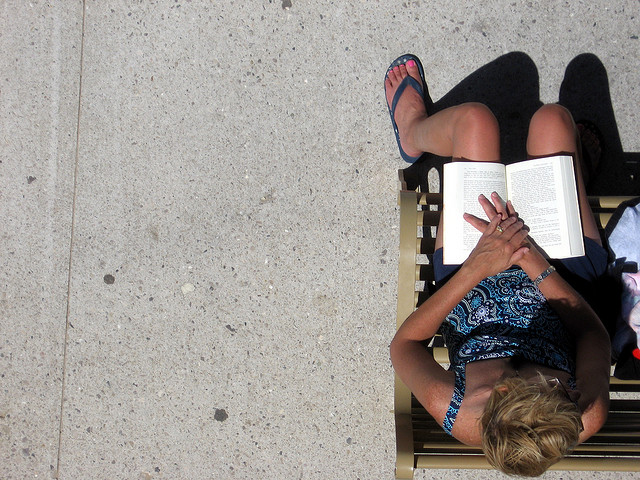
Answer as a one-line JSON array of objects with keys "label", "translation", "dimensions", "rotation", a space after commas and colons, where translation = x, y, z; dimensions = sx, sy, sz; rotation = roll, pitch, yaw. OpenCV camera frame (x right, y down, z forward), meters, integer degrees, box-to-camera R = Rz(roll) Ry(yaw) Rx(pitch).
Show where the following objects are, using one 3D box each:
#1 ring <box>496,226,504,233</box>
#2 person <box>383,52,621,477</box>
[{"label": "ring", "translation": [0.713, -0.043, 3.409], "dimensions": [0.025, 0.014, 0.005], "rotation": [39, -7, 11]}, {"label": "person", "translation": [0.700, 0.118, 3.473], "dimensions": [0.989, 1.312, 0.910], "rotation": [6, 11, 27]}]
